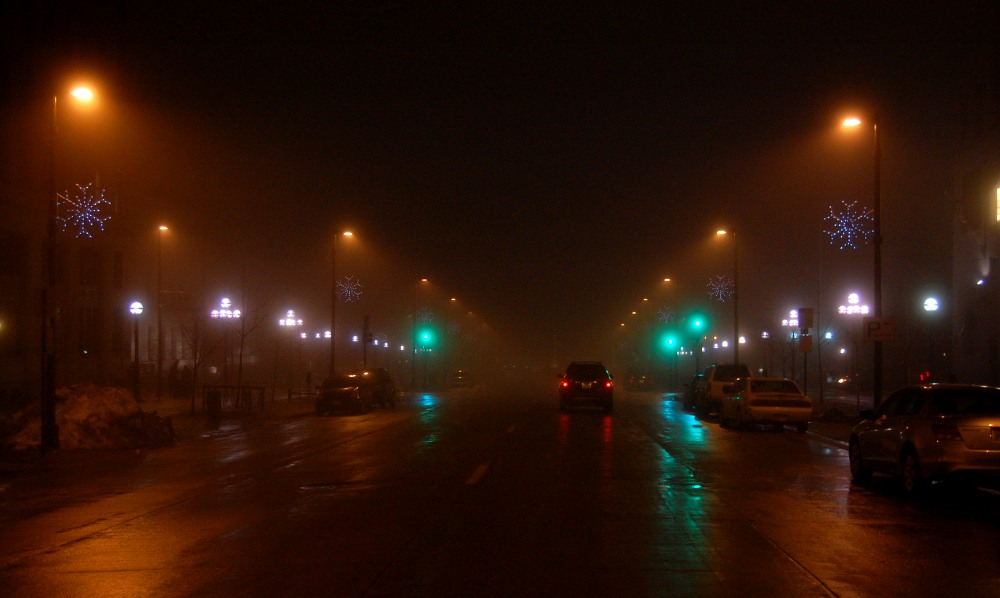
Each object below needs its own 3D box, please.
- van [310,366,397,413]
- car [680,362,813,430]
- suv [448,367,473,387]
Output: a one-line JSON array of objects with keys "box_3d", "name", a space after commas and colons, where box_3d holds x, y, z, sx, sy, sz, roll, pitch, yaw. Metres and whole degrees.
[{"box_3d": [-7.722, 5.037, 51.186, 2.536, 2.930, 8.562, -4, -10, 7], "name": "van"}, {"box_3d": [10.782, 4.269, 38.858, 2.826, 2.409, 6.874, -1, -4, 6], "name": "car"}, {"box_3d": [-4.546, 9.222, 107.152, 1.748, 1.256, 2.761, 0, -8, -4], "name": "suv"}]
